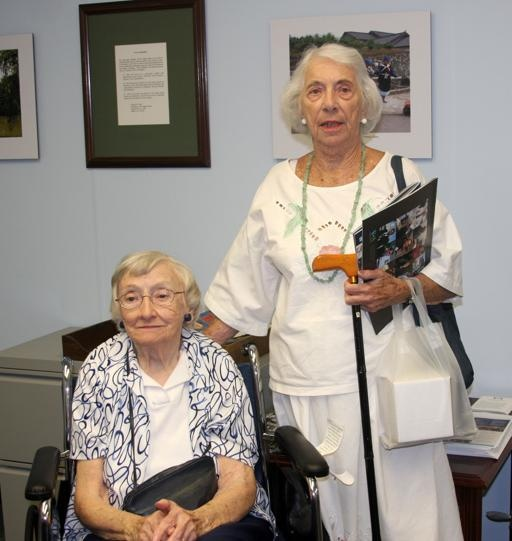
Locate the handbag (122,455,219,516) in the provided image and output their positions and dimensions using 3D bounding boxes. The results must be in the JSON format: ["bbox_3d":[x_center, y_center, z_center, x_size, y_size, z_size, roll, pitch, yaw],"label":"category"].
[{"bbox_3d":[-0.178,0.476,1.207,0.120,0.088,0.210,-2,6,36],"label":"handbag"}]

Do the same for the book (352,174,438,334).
[{"bbox_3d":[0.313,-0.028,1.255,0.229,0.299,0.089,-31,40,-29],"label":"book"}]
